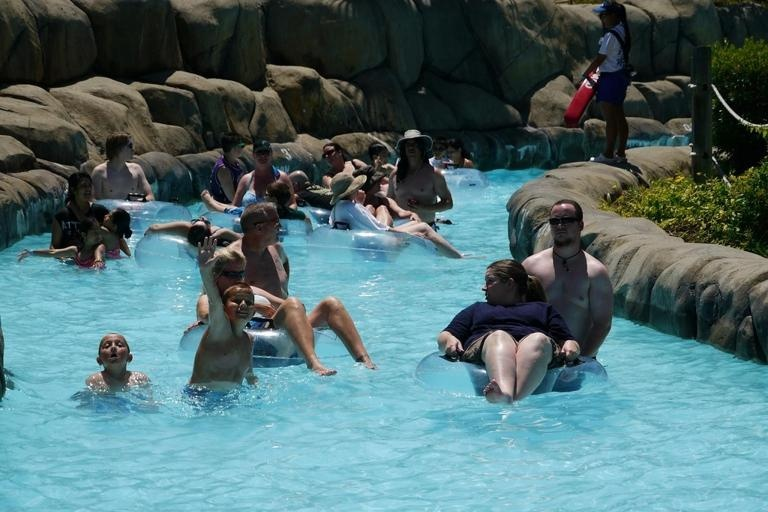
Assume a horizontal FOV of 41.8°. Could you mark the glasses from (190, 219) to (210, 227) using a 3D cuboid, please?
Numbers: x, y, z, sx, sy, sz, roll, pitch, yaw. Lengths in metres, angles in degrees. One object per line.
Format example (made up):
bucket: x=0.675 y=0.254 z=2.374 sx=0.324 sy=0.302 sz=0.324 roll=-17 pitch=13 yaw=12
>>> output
glasses: x=-2.374 y=-0.454 z=12.969 sx=0.183 sy=0.105 sz=0.144 roll=4 pitch=0 yaw=10

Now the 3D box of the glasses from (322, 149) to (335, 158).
glasses: x=-0.862 y=-1.647 z=15.997 sx=0.158 sy=0.056 sz=0.169 roll=-6 pitch=48 yaw=24

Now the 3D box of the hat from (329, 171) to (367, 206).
hat: x=-0.439 y=-0.978 z=13.380 sx=0.389 sy=0.142 sz=0.425 roll=-20 pitch=31 yaw=55

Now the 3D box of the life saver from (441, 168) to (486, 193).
life saver: x=1.441 y=-1.359 z=17.806 sx=0.524 sy=0.198 sz=0.521 roll=0 pitch=13 yaw=-21

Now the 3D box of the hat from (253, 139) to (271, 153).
hat: x=-1.792 y=-1.606 z=14.756 sx=0.234 sy=0.168 sz=0.340 roll=-3 pitch=-9 yaw=-7

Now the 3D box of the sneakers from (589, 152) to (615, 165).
sneakers: x=3.300 y=-1.475 z=15.155 sx=0.413 sy=0.181 sz=0.155 roll=8 pitch=0 yaw=16
